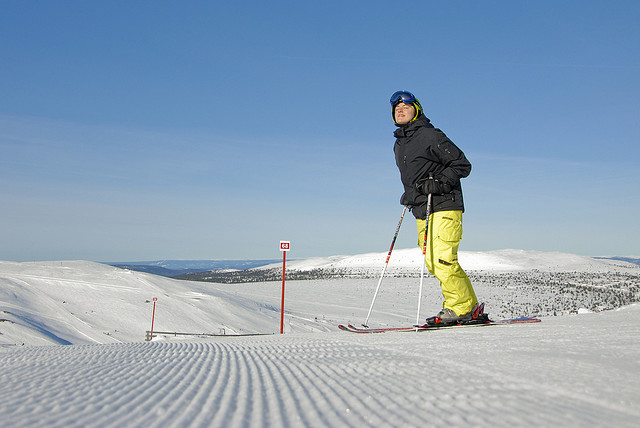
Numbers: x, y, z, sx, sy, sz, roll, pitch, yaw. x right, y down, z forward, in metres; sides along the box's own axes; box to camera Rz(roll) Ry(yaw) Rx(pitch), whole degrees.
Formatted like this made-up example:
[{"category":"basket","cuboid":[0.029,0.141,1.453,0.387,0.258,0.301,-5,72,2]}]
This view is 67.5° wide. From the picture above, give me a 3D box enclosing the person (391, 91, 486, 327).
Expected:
[{"category":"person","cuboid":[1.437,-0.101,5.980,0.587,2.943,1.433,8,1,-44]}]
